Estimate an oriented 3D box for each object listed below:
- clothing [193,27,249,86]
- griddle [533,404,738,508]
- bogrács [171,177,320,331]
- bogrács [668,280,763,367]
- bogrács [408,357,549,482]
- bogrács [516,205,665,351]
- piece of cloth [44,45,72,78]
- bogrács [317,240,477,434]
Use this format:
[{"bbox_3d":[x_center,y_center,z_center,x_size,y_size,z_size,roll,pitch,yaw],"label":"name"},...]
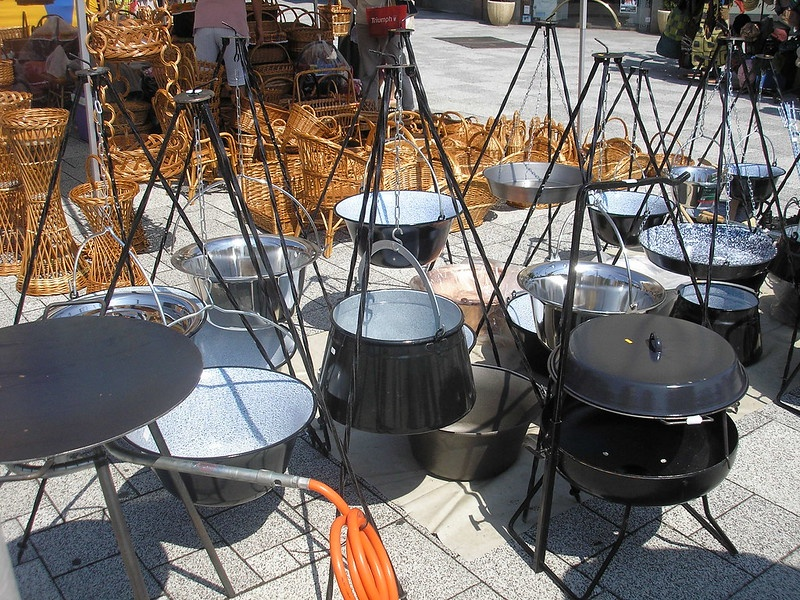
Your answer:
[{"bbox_3d":[-1.763,-2.455,6.520,0.524,0.479,0.194,21,37,16],"label":"clothing"},{"bbox_3d":[0.958,0.601,2.611,0.502,0.176,0.495,-2,22,13],"label":"griddle"},{"bbox_3d":[-0.709,-0.153,3.481,0.745,0.786,0.326,-6,65,5],"label":"bogrács"},{"bbox_3d":[1.889,0.085,3.882,0.441,0.294,0.446,-23,32,-36],"label":"bogrács"},{"bbox_3d":[0.402,0.616,3.113,0.547,0.236,0.544,-15,26,-27],"label":"bogrács"},{"bbox_3d":[0.848,-0.002,3.212,0.579,0.645,0.621,-10,36,-19],"label":"bogrács"},{"bbox_3d":[-3.942,-2.753,7.638,0.274,0.347,0.321,-10,27,-26],"label":"piece of cloth"},{"bbox_3d":[0.010,0.119,2.692,0.639,0.728,0.546,11,26,16],"label":"bogrács"}]
